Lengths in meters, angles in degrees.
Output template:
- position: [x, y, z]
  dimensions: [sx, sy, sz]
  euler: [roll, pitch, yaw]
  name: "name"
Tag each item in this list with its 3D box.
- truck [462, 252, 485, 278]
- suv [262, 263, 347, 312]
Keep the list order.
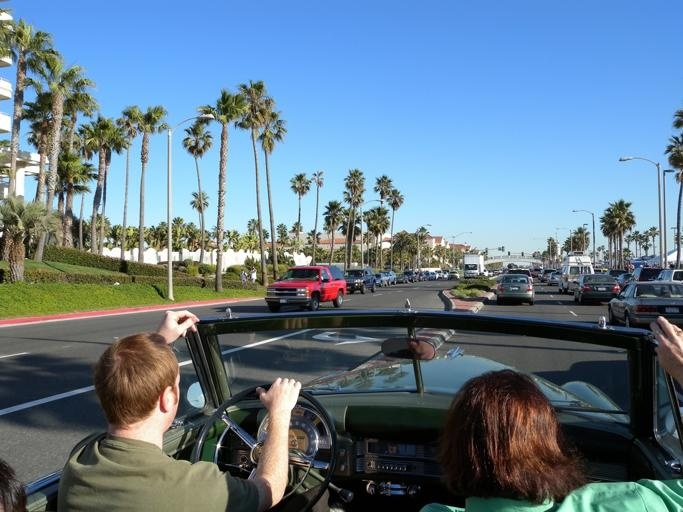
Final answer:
- position: [18.943, 1.512, 70.364]
  dimensions: [1.899, 2.706, 5.491]
  euler: [-2, -4, 16]
  name: "truck"
- position: [-1.720, 1.618, 24.609]
  dimensions: [2.004, 1.597, 3.844]
  euler: [-4, -6, 23]
  name: "suv"
